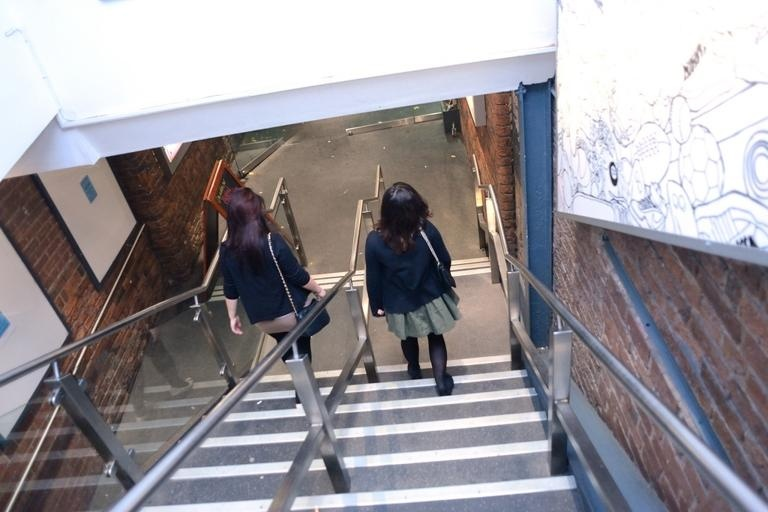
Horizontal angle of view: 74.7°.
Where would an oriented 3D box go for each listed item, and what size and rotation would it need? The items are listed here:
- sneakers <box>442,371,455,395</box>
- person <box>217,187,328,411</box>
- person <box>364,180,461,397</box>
[{"bbox_3d":[0.526,1.022,4.087,0.083,0.160,0.168,-3,51,10],"label":"sneakers"},{"bbox_3d":[-0.867,0.106,3.802,0.757,1.275,0.575,-8,12,-10],"label":"person"},{"bbox_3d":[0.235,0.280,3.932,0.752,1.741,0.538,-16,15,-40],"label":"person"}]
